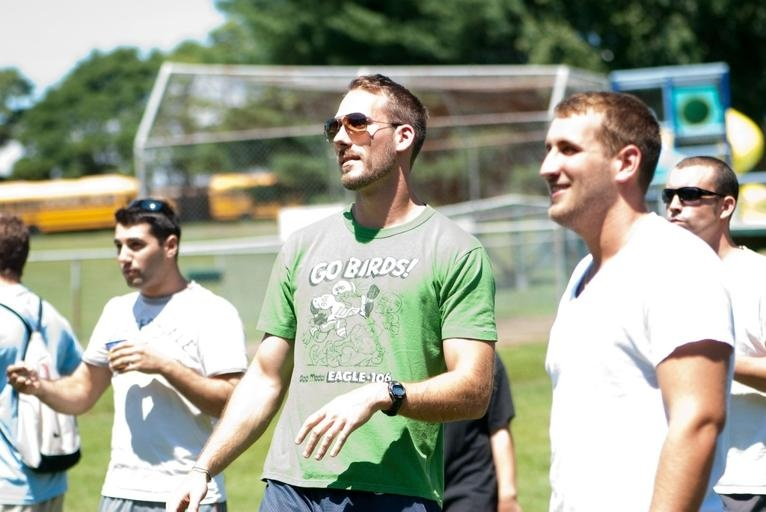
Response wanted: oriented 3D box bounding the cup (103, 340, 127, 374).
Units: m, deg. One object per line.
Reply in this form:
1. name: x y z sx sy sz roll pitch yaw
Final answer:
1. cup: -2.416 0.936 11.838 0.183 0.306 0.251 -2 2 -12
